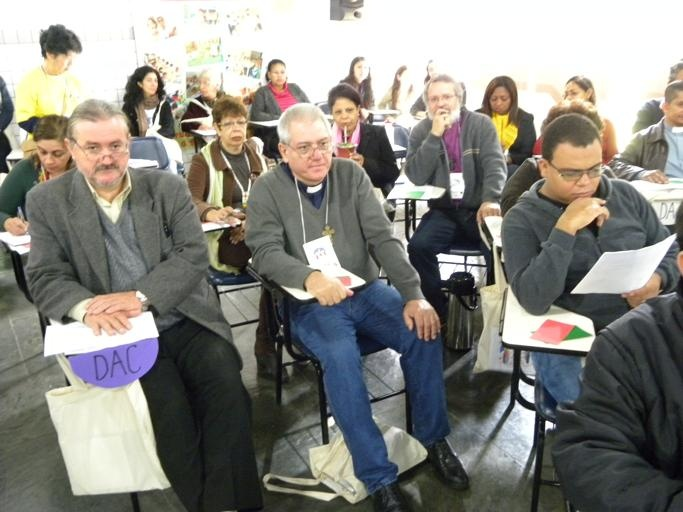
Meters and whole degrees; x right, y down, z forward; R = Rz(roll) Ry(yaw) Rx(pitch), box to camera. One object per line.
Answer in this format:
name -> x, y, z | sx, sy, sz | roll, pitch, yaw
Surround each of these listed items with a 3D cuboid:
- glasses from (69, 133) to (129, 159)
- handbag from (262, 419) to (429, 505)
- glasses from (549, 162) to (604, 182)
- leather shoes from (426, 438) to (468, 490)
glasses -> -1.090, -0.494, 2.521 | 0.256, 0.109, 0.138 | -7, 20, -25
handbag -> 0.036, 0.995, 2.624 | 0.575, 0.238, 0.383 | -8, 10, -36
glasses -> 1.030, -0.359, 2.406 | 0.202, 0.082, 0.057 | -1, 19, -9
leather shoes -> 0.493, 0.973, 2.643 | 0.092, 0.103, 0.260 | -15, 21, -24
